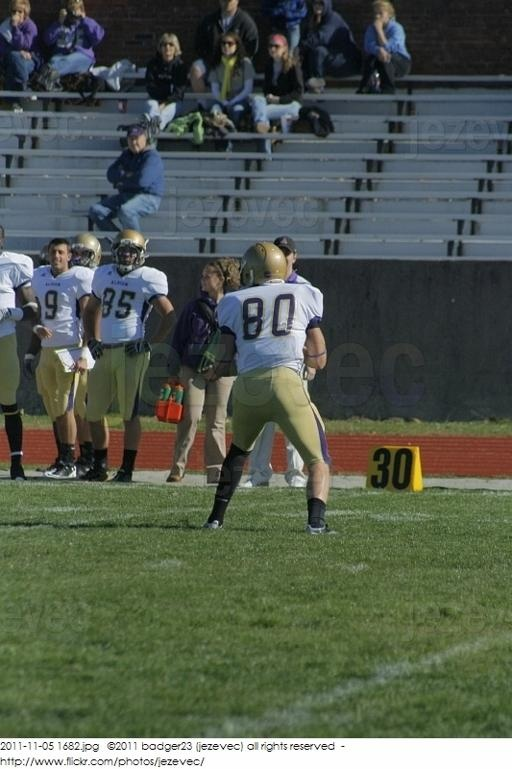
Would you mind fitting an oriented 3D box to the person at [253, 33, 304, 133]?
[{"bbox_3d":[0.187,-2.868,14.073,0.474,0.926,0.492,1,12,0],"label":"person"}]

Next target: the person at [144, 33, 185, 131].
[{"bbox_3d":[-0.910,-2.923,14.273,0.422,0.917,0.472,7,14,26],"label":"person"}]

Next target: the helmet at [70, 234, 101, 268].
[{"bbox_3d":[-1.126,-0.895,9.714,0.170,0.207,0.220,2,5,6],"label":"helmet"}]

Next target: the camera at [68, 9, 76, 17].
[{"bbox_3d":[-1.876,-3.771,14.918,0.053,0.074,0.026,8,28,41],"label":"camera"}]

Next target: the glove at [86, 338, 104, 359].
[{"bbox_3d":[-0.990,-0.234,8.982,0.039,0.083,0.119,-10,52,-24],"label":"glove"}]

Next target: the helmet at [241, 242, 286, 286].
[{"bbox_3d":[0.029,-0.585,7.079,0.178,0.213,0.219,0,21,-11],"label":"helmet"}]

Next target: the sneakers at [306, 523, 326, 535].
[{"bbox_3d":[0.294,0.671,6.979,0.109,0.042,0.073,-3,14,-19],"label":"sneakers"}]

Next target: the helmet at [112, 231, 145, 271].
[{"bbox_3d":[-0.769,-0.839,9.076,0.186,0.243,0.237,2,4,-1],"label":"helmet"}]

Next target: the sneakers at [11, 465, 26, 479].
[{"bbox_3d":[-1.490,0.532,9.141,0.096,0.130,0.074,-1,4,-9],"label":"sneakers"}]

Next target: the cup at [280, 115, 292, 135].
[{"bbox_3d":[0.284,-2.555,14.394,0.112,0.107,0.141,-3,11,-6],"label":"cup"}]

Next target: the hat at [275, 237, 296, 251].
[{"bbox_3d":[0.164,-0.818,8.541,0.099,0.086,0.143,7,-13,10],"label":"hat"}]

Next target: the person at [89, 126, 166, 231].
[{"bbox_3d":[-1.128,-1.851,13.217,0.595,1.007,0.868,-5,14,-28],"label":"person"}]

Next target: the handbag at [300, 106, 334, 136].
[{"bbox_3d":[0.590,-2.611,14.583,0.244,0.311,0.483,7,14,23],"label":"handbag"}]

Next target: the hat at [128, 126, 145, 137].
[{"bbox_3d":[-1.045,-2.206,12.757,0.093,0.090,0.119,-3,13,3],"label":"hat"}]

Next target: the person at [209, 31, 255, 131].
[{"bbox_3d":[-0.234,-2.933,14.214,0.425,0.905,0.377,-4,13,-22],"label":"person"}]

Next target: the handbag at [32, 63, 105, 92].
[{"bbox_3d":[-1.942,-3.099,14.983,0.466,0.274,0.317,-6,-15,-21],"label":"handbag"}]
